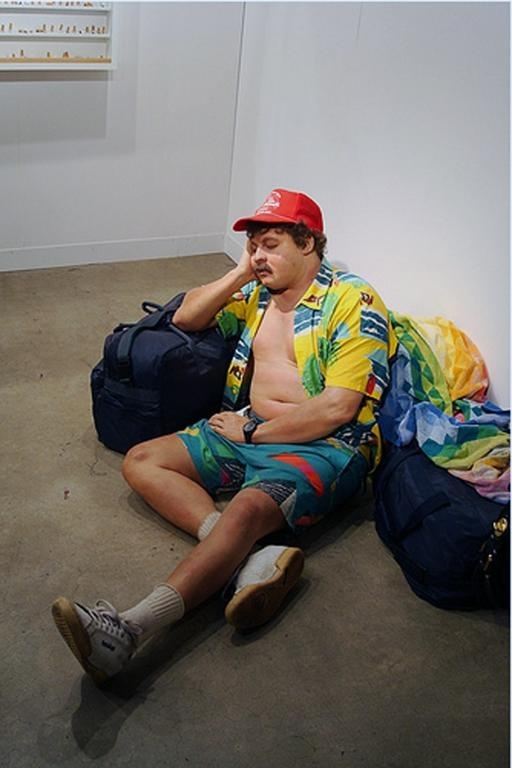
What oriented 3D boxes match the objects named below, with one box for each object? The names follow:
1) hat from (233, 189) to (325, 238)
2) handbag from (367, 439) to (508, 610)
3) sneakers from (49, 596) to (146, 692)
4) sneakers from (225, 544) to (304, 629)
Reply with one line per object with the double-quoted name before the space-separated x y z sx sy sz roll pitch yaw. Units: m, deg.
"hat" 0.065 -0.482 1.737 0.213 0.103 0.157 14 13 -20
"handbag" 0.440 0.349 1.550 0.261 0.126 0.363 -15 33 -20
"sneakers" -0.306 0.479 1.174 0.099 0.193 0.129 27 29 34
"sneakers" 0.005 0.434 1.391 0.101 0.094 0.257 31 27 26
